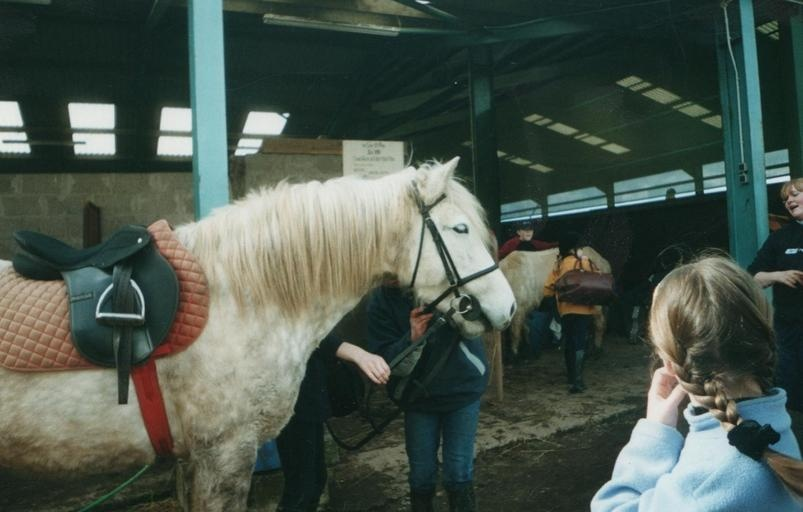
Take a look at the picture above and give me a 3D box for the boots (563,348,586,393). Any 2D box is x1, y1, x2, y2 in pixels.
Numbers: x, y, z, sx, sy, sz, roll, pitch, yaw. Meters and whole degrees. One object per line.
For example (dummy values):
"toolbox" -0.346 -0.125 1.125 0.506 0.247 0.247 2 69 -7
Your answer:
"boots" 2.144 1.393 11.987 0.215 0.505 0.425 -1 3 4

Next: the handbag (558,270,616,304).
"handbag" 2.237 0.370 11.739 0.753 0.382 0.646 3 -21 11

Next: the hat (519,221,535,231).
"hat" 1.763 -0.432 13.557 0.163 0.091 0.121 -3 3 -34
